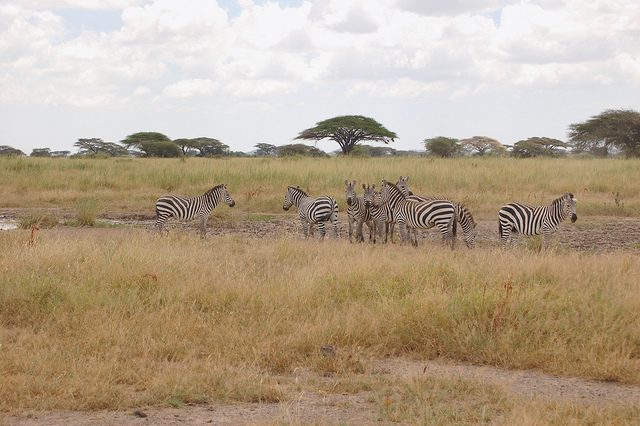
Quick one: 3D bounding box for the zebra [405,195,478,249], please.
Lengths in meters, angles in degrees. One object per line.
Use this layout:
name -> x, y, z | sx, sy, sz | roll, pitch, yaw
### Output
zebra -> 2.673, 0.274, 22.689 | 2.500, 1.319, 0.659 | 5, 9, 33

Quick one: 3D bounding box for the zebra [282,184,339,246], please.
zebra -> -0.299, 0.050, 23.835 | 2.031, 1.488, 0.657 | 7, 14, 42

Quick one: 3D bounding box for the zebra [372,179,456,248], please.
zebra -> 2.465, 0.026, 22.572 | 2.418, 1.860, 0.754 | 4, 9, 25

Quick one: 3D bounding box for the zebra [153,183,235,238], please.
zebra -> -3.669, -0.111, 23.678 | 2.080, 1.341, 1.511 | 0, 11, -14

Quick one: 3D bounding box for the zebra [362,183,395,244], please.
zebra -> 1.649, 0.084, 23.535 | 0.566, 1.663, 2.170 | 5, -4, 24

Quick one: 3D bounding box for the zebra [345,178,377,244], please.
zebra -> 1.113, -0.009, 23.759 | 0.603, 1.741, 2.405 | 3, -2, 23
